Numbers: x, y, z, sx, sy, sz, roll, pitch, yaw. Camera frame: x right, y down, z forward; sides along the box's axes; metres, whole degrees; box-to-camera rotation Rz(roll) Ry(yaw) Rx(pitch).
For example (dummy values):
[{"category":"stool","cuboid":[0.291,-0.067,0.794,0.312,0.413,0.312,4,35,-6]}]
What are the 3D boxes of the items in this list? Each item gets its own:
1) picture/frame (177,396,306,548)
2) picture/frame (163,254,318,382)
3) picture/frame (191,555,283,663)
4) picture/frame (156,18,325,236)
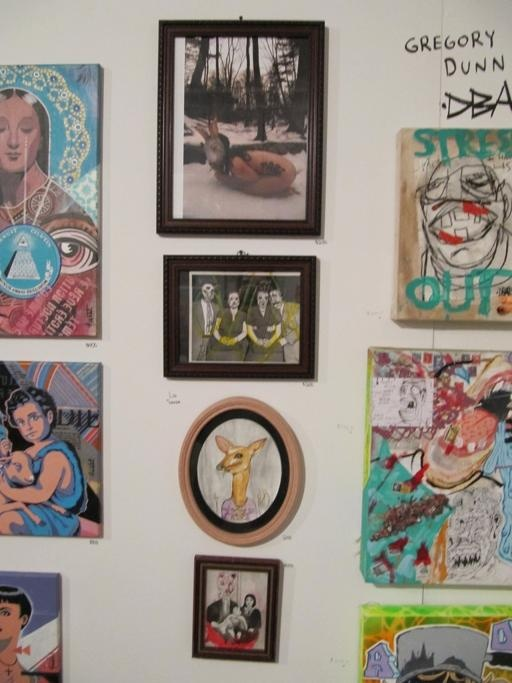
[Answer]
[{"category":"picture/frame","cuboid":[-0.042,0.314,2.521,0.281,0.383,0.042,0,-33,-3]},{"category":"picture/frame","cuboid":[-0.038,-0.064,2.496,0.241,0.237,0.013,0,6,2]},{"category":"picture/frame","cuboid":[-0.051,0.643,2.526,0.193,0.258,0.020,3,-38,-1]},{"category":"picture/frame","cuboid":[-0.042,-0.505,2.471,0.389,0.585,0.028,1,-19,-1]}]
